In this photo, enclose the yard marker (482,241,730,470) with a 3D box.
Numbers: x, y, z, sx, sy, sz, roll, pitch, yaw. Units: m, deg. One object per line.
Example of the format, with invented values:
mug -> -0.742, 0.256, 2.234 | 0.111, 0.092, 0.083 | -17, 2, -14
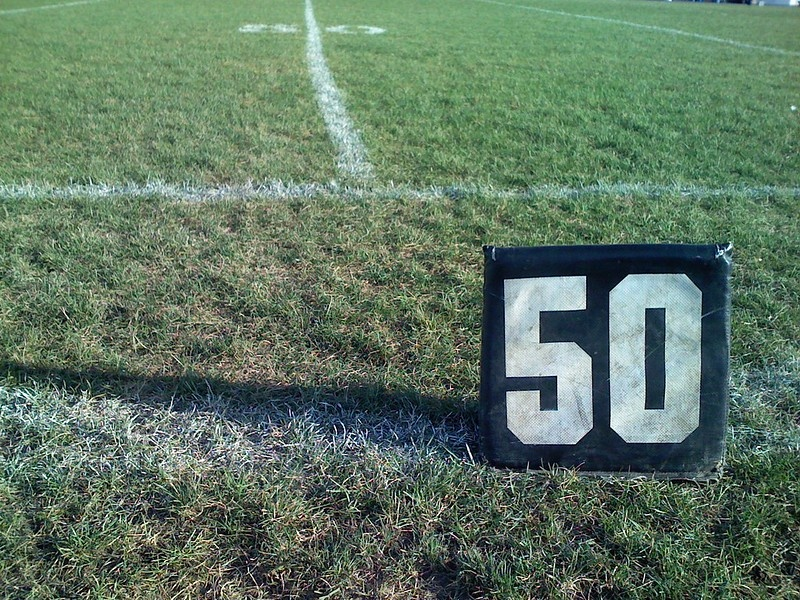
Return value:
yard marker -> 0.898, 0.249, 4.063 | 1.061, 1.100, 0.134 | -2, 22, 8
